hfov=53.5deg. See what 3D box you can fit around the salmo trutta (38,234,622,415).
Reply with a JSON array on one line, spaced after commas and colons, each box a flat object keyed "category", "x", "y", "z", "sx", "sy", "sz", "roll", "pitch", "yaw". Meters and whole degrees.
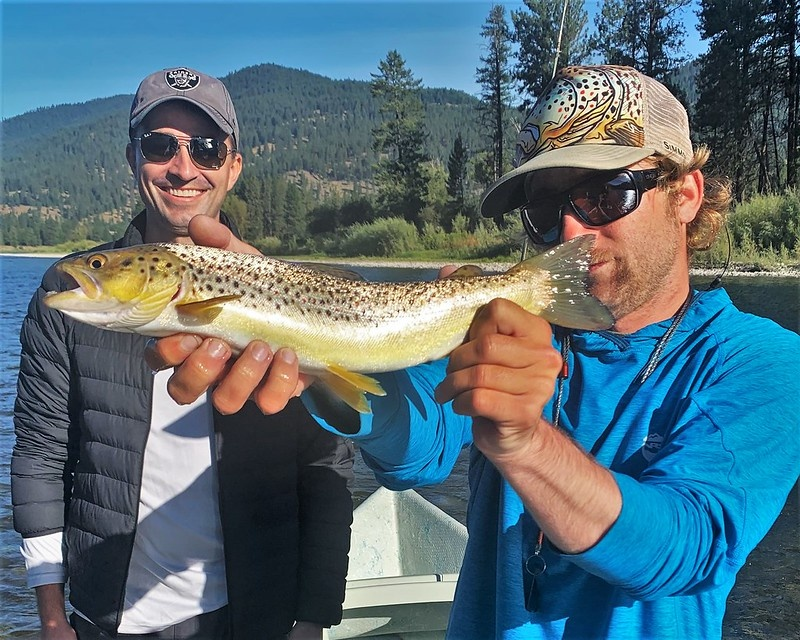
[{"category": "salmo trutta", "x": -0.618, "y": -0.069, "z": 4.276, "sx": 2.723, "sy": 1.138, "sz": 1.591, "roll": 0, "pitch": 1, "yaw": -32}]
